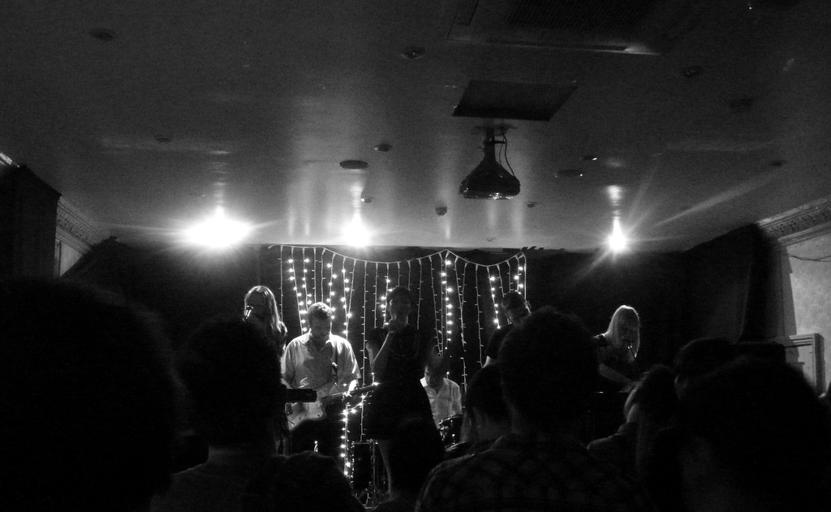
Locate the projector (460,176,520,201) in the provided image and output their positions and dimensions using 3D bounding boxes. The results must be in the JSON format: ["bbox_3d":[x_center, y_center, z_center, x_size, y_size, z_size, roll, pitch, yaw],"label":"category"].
[{"bbox_3d":[0.572,-0.544,5.380,0.311,0.160,0.251,1,-11,-7],"label":"projector"}]

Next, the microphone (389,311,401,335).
[{"bbox_3d":[-0.132,0.504,5.145,0.123,0.196,0.161,-1,-14,-2],"label":"microphone"}]
